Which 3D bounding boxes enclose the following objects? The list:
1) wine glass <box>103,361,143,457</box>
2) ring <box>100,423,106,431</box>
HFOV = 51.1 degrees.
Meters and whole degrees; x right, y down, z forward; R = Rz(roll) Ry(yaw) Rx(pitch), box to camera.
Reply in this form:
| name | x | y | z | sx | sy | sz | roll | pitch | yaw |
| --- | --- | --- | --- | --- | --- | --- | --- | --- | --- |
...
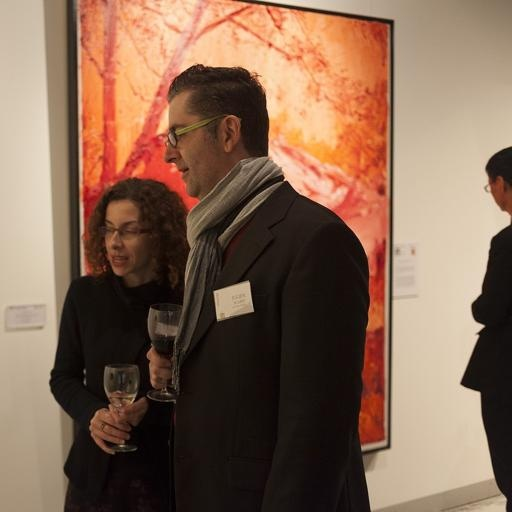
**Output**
| name | x | y | z | sx | sy | sz | roll | pitch | yaw |
| --- | --- | --- | --- | --- | --- | --- | --- | --- | --- |
| wine glass | -0.509 | 0.596 | 2.040 | 0.123 | 0.382 | 0.197 | 1 | 1 | -8 |
| ring | -0.583 | 0.650 | 2.036 | 0.018 | 0.024 | 0.020 | 0 | 2 | 0 |
